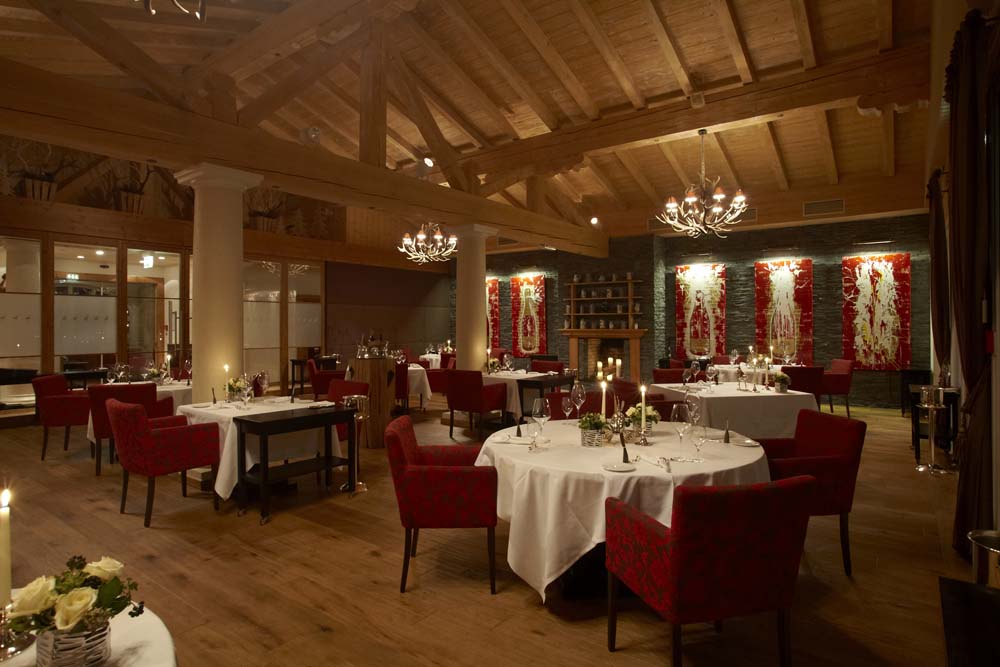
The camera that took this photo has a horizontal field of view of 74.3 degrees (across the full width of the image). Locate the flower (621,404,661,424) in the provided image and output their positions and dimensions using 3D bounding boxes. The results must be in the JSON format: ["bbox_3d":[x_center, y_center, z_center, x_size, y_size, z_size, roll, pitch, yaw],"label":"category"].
[{"bbox_3d":[1.182,0.665,5.673,0.203,0.131,0.204,-2,-3,37],"label":"flower"}]

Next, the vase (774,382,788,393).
[{"bbox_3d":[3.299,0.623,7.785,0.110,0.139,0.149,-18,21,-40],"label":"vase"}]

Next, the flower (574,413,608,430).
[{"bbox_3d":[0.757,0.726,5.493,0.152,0.090,0.152,-1,0,25],"label":"flower"}]

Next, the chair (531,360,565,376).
[{"bbox_3d":[0.775,0.529,10.639,0.379,0.192,0.372,1,0,16],"label":"chair"}]

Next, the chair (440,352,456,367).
[{"bbox_3d":[-0.935,0.448,11.738,0.282,0.269,0.261,2,0,2],"label":"chair"}]

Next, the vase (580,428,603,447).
[{"bbox_3d":[0.762,0.863,5.540,0.159,0.111,0.156,0,-2,13],"label":"vase"}]

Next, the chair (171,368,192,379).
[{"bbox_3d":[-4.453,0.552,9.208,0.162,0.111,0.156,-1,5,-23],"label":"chair"}]

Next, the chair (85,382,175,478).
[{"bbox_3d":[-4.272,1.066,7.638,0.787,0.968,0.659,-5,-1,-8],"label":"chair"}]

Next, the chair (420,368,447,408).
[{"bbox_3d":[-0.982,0.787,10.588,0.530,0.496,0.472,-1,-1,4],"label":"chair"}]

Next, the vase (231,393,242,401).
[{"bbox_3d":[-2.862,0.666,7.125,0.101,0.069,0.098,3,-1,2],"label":"vase"}]

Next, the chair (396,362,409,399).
[{"bbox_3d":[-1.511,0.702,10.057,0.174,0.556,0.371,-2,0,-11],"label":"chair"}]

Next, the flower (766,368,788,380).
[{"bbox_3d":[3.563,0.524,8.614,0.321,0.069,0.321,3,8,34],"label":"flower"}]

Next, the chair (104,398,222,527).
[{"bbox_3d":[-3.346,1.203,6.862,1.309,1.458,1.063,-1,2,-42],"label":"chair"}]

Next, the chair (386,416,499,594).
[{"bbox_3d":[-0.486,1.420,5.624,0.950,1.183,0.896,2,4,-6],"label":"chair"}]

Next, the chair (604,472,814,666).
[{"bbox_3d":[1.454,1.588,4.956,1.268,1.680,1.444,1,-1,-16],"label":"chair"}]

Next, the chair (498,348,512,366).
[{"bbox_3d":[0.075,0.449,13.432,0.232,0.407,0.236,-4,-7,40],"label":"chair"}]

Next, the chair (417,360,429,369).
[{"bbox_3d":[-1.512,0.574,12.772,0.165,0.207,0.220,-2,5,-41],"label":"chair"}]

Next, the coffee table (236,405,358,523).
[{"bbox_3d":[-2.091,1.308,6.658,0.500,0.804,1.130,0,0,36],"label":"coffee table"}]

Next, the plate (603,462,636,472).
[{"bbox_3d":[0.897,1.008,4.987,0.234,0.068,0.158,-2,-1,8],"label":"plate"}]

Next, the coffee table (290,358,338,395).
[{"bbox_3d":[-3.152,0.689,11.109,0.856,0.944,0.748,-1,1,-22],"label":"coffee table"}]

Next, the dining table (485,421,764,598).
[{"bbox_3d":[0.672,1.228,5.044,1.702,0.589,1.646,0,-2,-26],"label":"dining table"}]

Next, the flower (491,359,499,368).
[{"bbox_3d":[-0.093,0.484,10.570,0.115,0.107,0.203,3,-1,0],"label":"flower"}]

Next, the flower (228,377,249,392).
[{"bbox_3d":[-2.845,0.549,7.163,0.163,0.113,0.158,3,-4,-3],"label":"flower"}]

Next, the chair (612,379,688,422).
[{"bbox_3d":[1.523,0.708,7.022,0.639,0.678,0.538,-3,1,17],"label":"chair"}]

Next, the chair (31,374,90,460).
[{"bbox_3d":[-5.499,1.038,8.091,0.710,0.910,0.624,-2,-3,42],"label":"chair"}]

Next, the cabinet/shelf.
[{"bbox_3d":[2.215,-0.121,13.838,2.332,2.808,0.614,-1,-3,32],"label":"cabinet/shelf"}]
